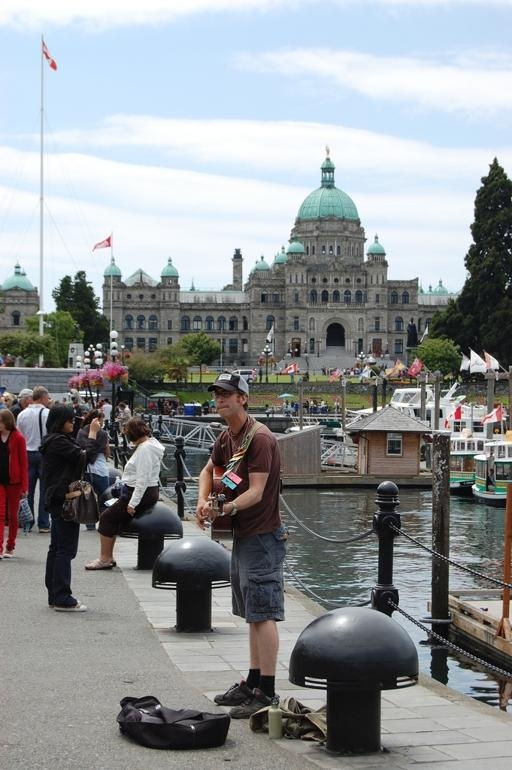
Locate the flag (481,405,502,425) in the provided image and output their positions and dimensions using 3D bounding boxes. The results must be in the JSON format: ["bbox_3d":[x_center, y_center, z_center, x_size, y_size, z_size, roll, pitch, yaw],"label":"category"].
[{"bbox_3d":[6.860,0.948,43.188,0.620,0.083,0.709,-18,34,42],"label":"flag"}]

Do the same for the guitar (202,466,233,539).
[{"bbox_3d":[-0.197,0.711,8.666,0.112,0.337,0.359,1,12,-4],"label":"guitar"}]

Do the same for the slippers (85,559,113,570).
[{"bbox_3d":[-1.435,1.677,13.836,0.258,0.108,0.099,3,-1,-10],"label":"slippers"}]

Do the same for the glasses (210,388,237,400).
[{"bbox_3d":[-0.186,0.066,8.632,0.093,0.079,0.162,1,-6,9],"label":"glasses"}]

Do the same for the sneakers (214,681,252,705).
[{"bbox_3d":[-0.150,1.757,8.461,0.252,0.132,0.094,1,-1,-27],"label":"sneakers"}]

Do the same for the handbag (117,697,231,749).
[{"bbox_3d":[-0.427,1.770,7.761,0.570,0.195,0.458,0,0,-6],"label":"handbag"}]

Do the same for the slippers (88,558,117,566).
[{"bbox_3d":[-1.399,1.660,13.832,0.224,0.080,0.087,2,-4,-8],"label":"slippers"}]

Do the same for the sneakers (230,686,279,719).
[{"bbox_3d":[-0.007,1.785,8.292,0.342,0.166,0.117,-8,-6,-30],"label":"sneakers"}]

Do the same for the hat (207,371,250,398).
[{"bbox_3d":[-0.149,0.001,8.635,0.123,0.108,0.200,-2,-10,34],"label":"hat"}]

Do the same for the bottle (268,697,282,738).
[{"bbox_3d":[0.108,1.800,7.911,0.060,0.177,0.063,0,1,0],"label":"bottle"}]

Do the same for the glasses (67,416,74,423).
[{"bbox_3d":[-1.447,0.283,11.715,0.054,0.071,0.076,2,-6,-5],"label":"glasses"}]

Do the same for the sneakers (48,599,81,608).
[{"bbox_3d":[-1.423,1.677,11.309,0.213,0.102,0.091,1,-1,-7],"label":"sneakers"}]

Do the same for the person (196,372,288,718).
[{"bbox_3d":[-0.080,0.902,8.569,0.518,1.911,0.817,0,1,1],"label":"person"}]
